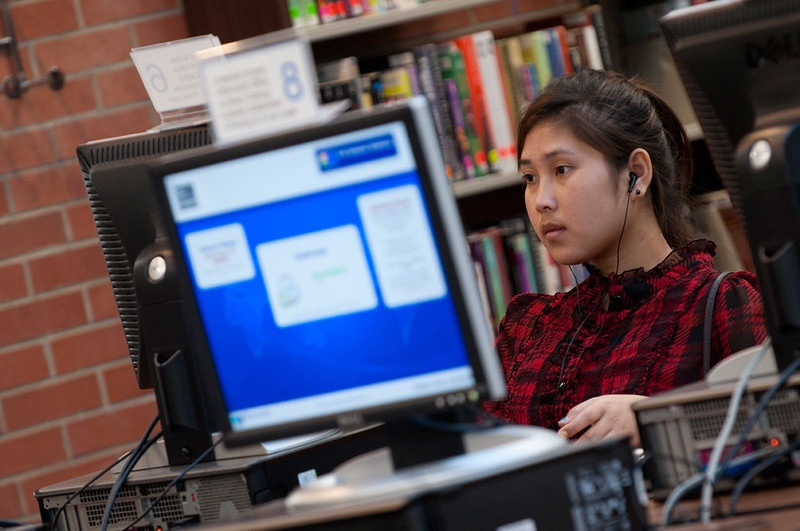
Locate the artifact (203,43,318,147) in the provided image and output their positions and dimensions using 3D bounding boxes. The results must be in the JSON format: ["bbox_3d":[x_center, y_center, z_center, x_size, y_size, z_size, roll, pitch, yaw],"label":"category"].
[{"bbox_3d":[-0.235,-0.270,1.315,0.215,0.145,0.051,-11,7,10],"label":"artifact"}]

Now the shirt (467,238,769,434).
[{"bbox_3d":[0.537,0.173,1.911,0.410,0.497,0.744,27,-28,-35],"label":"shirt"}]
